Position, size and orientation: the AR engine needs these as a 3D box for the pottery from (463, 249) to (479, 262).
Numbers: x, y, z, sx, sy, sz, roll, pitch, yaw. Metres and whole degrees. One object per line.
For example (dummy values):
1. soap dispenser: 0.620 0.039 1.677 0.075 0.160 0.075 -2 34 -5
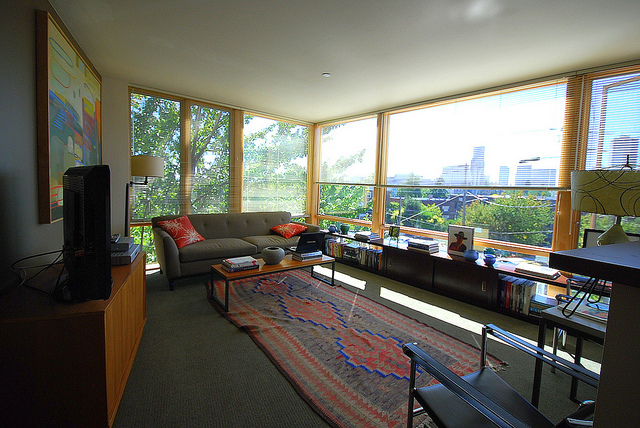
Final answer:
1. pottery: 1.896 0.523 5.196 0.155 0.097 0.143 0 -4 -3

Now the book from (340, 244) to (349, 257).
1. book: 0.408 0.571 6.782 0.141 0.233 0.246 1 2 -5

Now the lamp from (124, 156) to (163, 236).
1. lamp: -2.450 -0.028 5.745 0.537 1.507 0.504 0 5 -31

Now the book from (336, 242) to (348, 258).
1. book: 0.317 0.580 6.852 0.202 0.241 0.261 -1 5 -21

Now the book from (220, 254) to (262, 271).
1. book: -0.963 0.588 4.965 0.369 0.102 0.243 -3 11 -27

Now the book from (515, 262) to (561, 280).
1. book: 2.502 0.635 4.822 0.478 0.096 0.334 9 12 35

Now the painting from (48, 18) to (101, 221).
1. painting: -2.499 -1.001 4.187 0.089 1.472 2.128 0 4 -17

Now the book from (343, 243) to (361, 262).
1. book: 0.499 0.621 6.635 0.238 0.198 0.312 4 -2 -6

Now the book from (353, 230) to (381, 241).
1. book: 0.730 0.348 6.481 0.403 0.082 0.259 3 10 7

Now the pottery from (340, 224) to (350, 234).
1. pottery: 0.401 0.237 6.808 0.139 0.130 0.143 2 -2 -24

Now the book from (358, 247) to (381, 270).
1. book: 0.766 0.675 6.374 0.104 0.275 0.501 -6 13 -36

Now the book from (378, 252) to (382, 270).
1. book: 0.896 0.704 6.190 0.027 0.255 0.096 0 11 -14

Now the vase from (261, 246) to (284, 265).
1. vase: -0.591 0.510 5.180 0.229 0.145 0.219 -5 7 -39

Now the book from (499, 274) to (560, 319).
1. book: 2.328 0.927 4.675 0.572 0.513 0.203 2 0 40

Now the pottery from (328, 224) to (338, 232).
1. pottery: 0.202 0.234 6.824 0.122 0.102 0.118 3 0 5

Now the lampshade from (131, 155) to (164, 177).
1. lampshade: -2.306 -0.643 5.533 0.343 0.202 0.329 0 -1 -15

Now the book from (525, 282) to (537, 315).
1. book: 2.412 0.966 4.771 0.071 0.279 0.294 9 3 31

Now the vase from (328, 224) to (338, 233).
1. vase: 0.204 0.234 6.822 0.110 0.090 0.139 -1 -7 8

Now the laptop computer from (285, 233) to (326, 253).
1. laptop computer: -0.198 0.355 5.497 0.297 0.208 0.307 2 4 -32

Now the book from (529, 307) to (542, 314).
1. book: 2.440 1.093 4.729 0.115 0.027 0.120 3 1 -33

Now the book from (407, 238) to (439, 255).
1. book: 1.396 0.438 5.703 0.404 0.150 0.215 9 12 36

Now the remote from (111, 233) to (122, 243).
1. remote: -2.018 0.237 4.090 0.078 0.039 0.128 0 5 -27

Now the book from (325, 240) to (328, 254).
1. book: 0.101 0.555 6.996 0.042 0.148 0.167 4 3 -6

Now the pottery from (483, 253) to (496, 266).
1. pottery: 2.091 0.559 5.137 0.137 0.090 0.128 1 -4 19

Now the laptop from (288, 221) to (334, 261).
1. laptop: -0.158 0.407 6.119 0.516 0.461 0.355 3 20 -39

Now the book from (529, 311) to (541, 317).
1. book: 2.445 1.131 4.703 0.066 0.040 0.140 -1 10 -19

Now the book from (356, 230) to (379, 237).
1. book: 0.744 0.309 6.567 0.269 0.034 0.284 -3 11 -30

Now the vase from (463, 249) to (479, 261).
1. vase: 1.893 0.515 5.239 0.149 0.094 0.137 0 -4 -9

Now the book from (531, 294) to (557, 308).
1. book: 2.505 0.981 4.676 0.247 0.057 0.262 -2 4 -37

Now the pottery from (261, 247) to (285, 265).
1. pottery: -0.596 0.512 5.181 0.227 0.142 0.217 -2 4 -10

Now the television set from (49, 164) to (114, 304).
1. television set: -1.929 0.148 3.294 0.543 1.082 0.386 10 13 35

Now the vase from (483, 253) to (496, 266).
1. vase: 2.101 0.565 5.136 0.139 0.095 0.130 1 -4 20

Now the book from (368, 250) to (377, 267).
1. book: 0.770 0.674 6.353 0.077 0.260 0.034 3 11 6
